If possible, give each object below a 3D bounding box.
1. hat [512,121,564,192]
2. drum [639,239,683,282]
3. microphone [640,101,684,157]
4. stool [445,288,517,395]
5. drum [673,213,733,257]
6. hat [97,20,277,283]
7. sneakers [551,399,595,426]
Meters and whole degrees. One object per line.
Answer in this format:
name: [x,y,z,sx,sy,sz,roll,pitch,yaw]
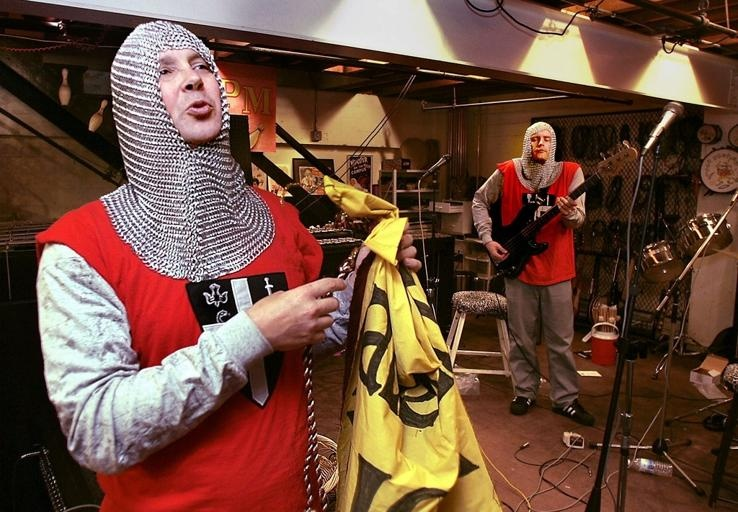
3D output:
hat: [1.332,-0.797,4.460,0.347,0.561,0.265,-3,5,11]
drum: [2.396,-0.002,4.804,0.313,0.240,0.310,-28,30,17]
microphone: [1.549,-0.681,2.965,0.175,0.299,0.394,-1,5,31]
stool: [0.850,0.749,5.249,0.644,0.725,0.635,13,-3,17]
drum: [2.927,-0.171,4.882,0.370,0.236,0.371,-1,-39,-1]
hat: [-0.649,-0.363,1.914,0.557,0.830,0.531,-11,18,-21]
sneakers: [1.616,1.240,4.477,0.129,0.141,0.355,-2,1,-39]
